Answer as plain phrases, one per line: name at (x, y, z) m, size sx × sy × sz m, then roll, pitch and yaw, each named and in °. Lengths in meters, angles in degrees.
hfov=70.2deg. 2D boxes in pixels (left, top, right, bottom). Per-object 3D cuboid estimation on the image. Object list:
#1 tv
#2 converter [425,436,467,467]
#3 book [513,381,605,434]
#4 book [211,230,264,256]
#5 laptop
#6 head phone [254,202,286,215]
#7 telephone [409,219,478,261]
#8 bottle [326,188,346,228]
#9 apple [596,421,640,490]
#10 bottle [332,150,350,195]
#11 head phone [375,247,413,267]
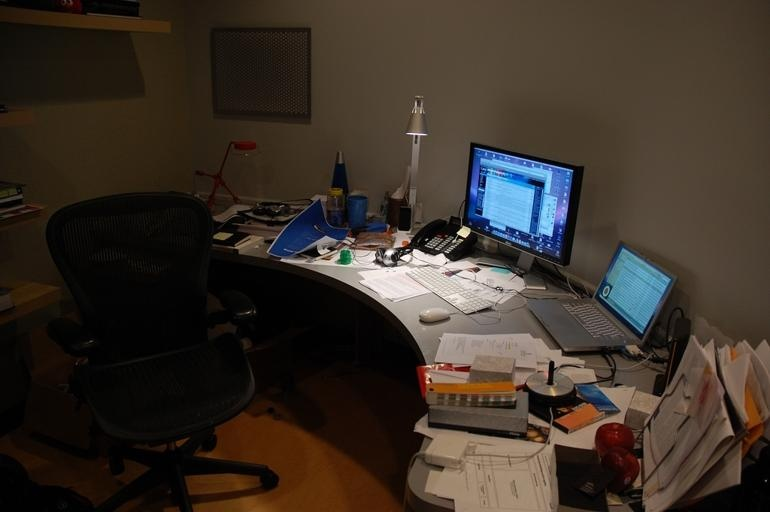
tv at (0.736, -0.195, 2.897) m, size 0.223 × 0.674 × 0.676 m, roll -14°, pitch 26°, yaw -35°
converter at (0.203, 0.664, 1.855) m, size 0.147 × 0.050 × 0.102 m, roll 5°, pitch 22°, yaw 8°
book at (0.668, 0.557, 1.961) m, size 0.198 × 0.179 × 0.016 m, roll 26°, pitch 40°, yaw -13°
book at (-0.867, -0.089, 3.064) m, size 0.149 × 0.035 × 0.151 m, roll 11°, pitch 21°, yaw 25°
laptop at (0.929, 0.229, 2.397) m, size 0.468 × 0.320 × 0.491 m, roll -2°, pitch 25°, yaw -12°
head phone at (-0.707, -0.292, 3.342) m, size 0.130 × 0.048 × 0.118 m, roll 6°, pitch 11°, yaw 11°
telephone at (0.355, -0.105, 3.168) m, size 0.304 × 0.156 × 0.413 m, roll -17°, pitch 15°, yaw -29°
bottle at (-0.316, -0.303, 3.376) m, size 0.121 × 0.217 × 0.125 m, roll 0°, pitch 16°, yaw 0°
apple at (0.749, 0.655, 1.764) m, size 0.109 × 0.164 × 0.113 m, roll -1°, pitch 31°, yaw -1°
bottle at (-0.292, -0.523, 3.422) m, size 0.094 × 0.266 × 0.225 m, roll 0°, pitch 22°, yaw -4°
head phone at (0.044, -0.010, 2.974) m, size 0.107 × 0.066 × 0.147 m, roll 13°, pitch 21°, yaw 42°
